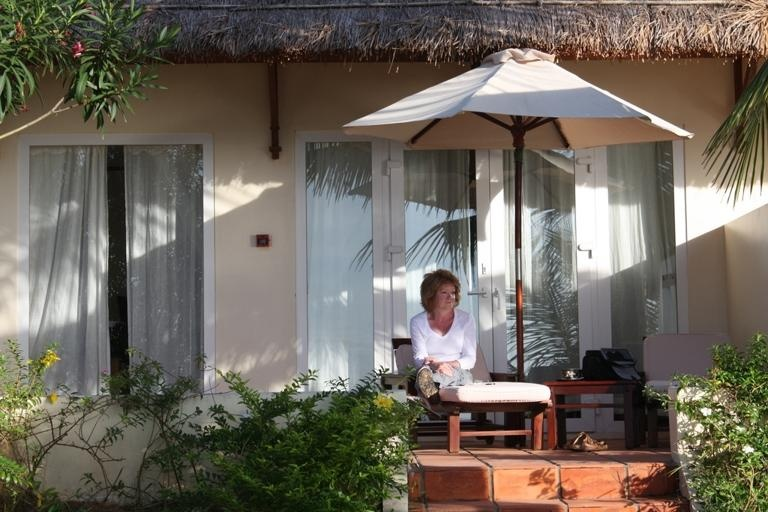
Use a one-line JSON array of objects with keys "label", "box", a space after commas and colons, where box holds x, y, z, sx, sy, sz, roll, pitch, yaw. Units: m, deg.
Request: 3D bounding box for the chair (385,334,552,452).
[{"label": "chair", "box": [0.840, 1.313, 9.132, 1.498, 1.107, 1.485, -1, -7, 0]}]

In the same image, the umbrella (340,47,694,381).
[{"label": "umbrella", "box": [1.292, -0.405, 9.825, 2.673, 2.778, 2.876, 2, -5, -16]}]

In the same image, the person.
[{"label": "person", "box": [0.502, 0.739, 8.817, 0.525, 1.266, 1.193, -3, -3, 13]}]

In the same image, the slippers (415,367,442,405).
[{"label": "slippers", "box": [0.397, 1.181, 8.584, 0.178, 0.360, 0.148, -11, 15, -33]}]

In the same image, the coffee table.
[{"label": "coffee table", "box": [2.054, 1.546, 9.185, 0.680, 0.597, 0.747, -1, -7, 7]}]

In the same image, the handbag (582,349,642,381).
[{"label": "handbag", "box": [2.193, 1.070, 9.181, 0.322, 0.267, 0.382, 4, -9, -41]}]

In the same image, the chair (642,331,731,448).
[{"label": "chair", "box": [2.772, 1.234, 8.607, 0.835, 1.344, 0.707, -1, -6, 12]}]

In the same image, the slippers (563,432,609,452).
[{"label": "slippers", "box": [1.929, 1.792, 9.013, 0.203, 0.109, 0.284, 0, -1, -6]}]
